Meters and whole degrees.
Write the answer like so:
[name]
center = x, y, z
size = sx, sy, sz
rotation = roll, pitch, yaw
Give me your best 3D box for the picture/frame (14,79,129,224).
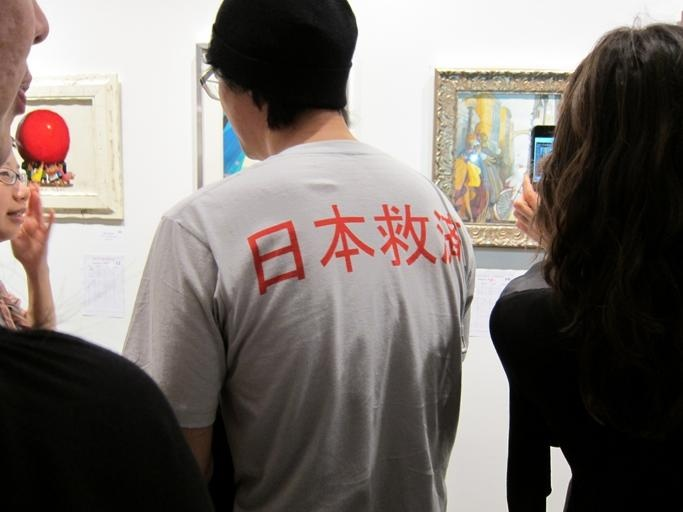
[picture/frame]
center = -0.969, -0.399, 2.256
size = 0.465, 0.559, 0.037
rotation = 1, 10, 5
